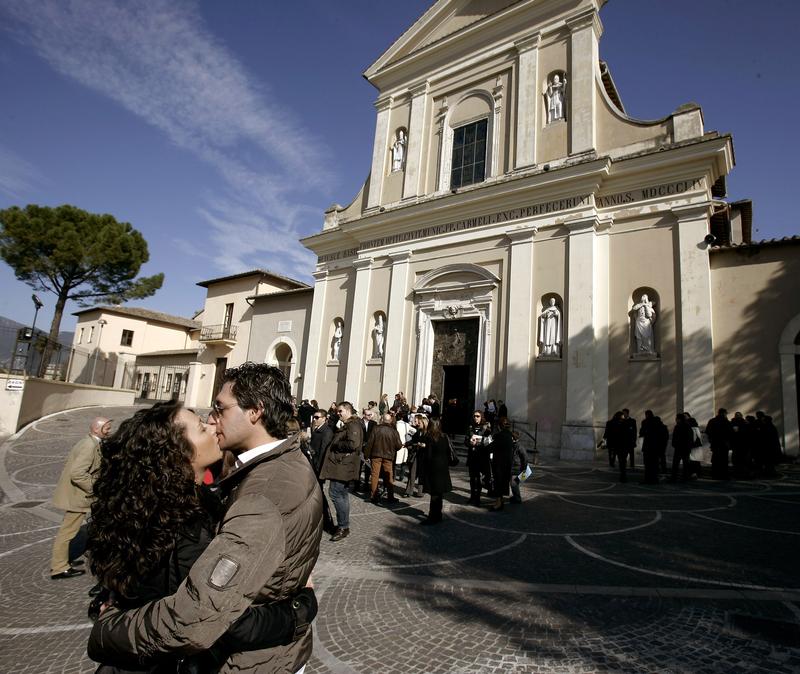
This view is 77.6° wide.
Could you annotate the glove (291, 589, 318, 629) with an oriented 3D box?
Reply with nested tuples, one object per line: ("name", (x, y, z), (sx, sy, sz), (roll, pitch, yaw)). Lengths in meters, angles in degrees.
("glove", (-0.400, 1.128, 2.088), (0.097, 0.149, 0.050), (11, -26, -31))

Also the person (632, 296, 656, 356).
("person", (7.348, -0.269, 15.013), (0.676, 1.878, 0.353), (-5, -8, 29))

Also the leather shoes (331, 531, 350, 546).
("leather shoes", (-0.796, 2.718, 6.821), (0.152, 0.136, 0.421), (-5, -8, 28))

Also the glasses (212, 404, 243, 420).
("glasses", (-0.801, 0.349, 2.321), (0.115, 0.039, 0.115), (8, -16, -27))

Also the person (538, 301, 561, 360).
("person", (4.895, -0.268, 16.320), (0.847, 2.105, 0.502), (-4, -8, 22))
